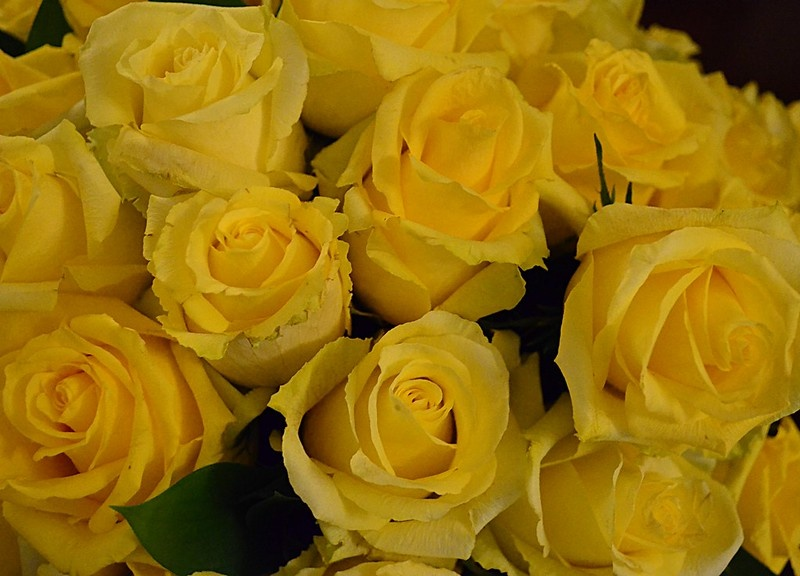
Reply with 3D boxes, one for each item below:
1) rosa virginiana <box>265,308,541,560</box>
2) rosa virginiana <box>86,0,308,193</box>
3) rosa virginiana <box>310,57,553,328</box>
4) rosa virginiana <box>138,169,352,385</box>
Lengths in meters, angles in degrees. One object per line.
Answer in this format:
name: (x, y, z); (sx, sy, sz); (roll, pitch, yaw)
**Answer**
rosa virginiana: (0.007, 0.126, 0.733); (0.193, 0.087, 0.193); (-22, 74, -14)
rosa virginiana: (-0.167, -0.152, 0.773); (0.184, 0.108, 0.170); (-13, 72, -11)
rosa virginiana: (0.054, -0.090, 0.804); (0.198, 0.203, 0.194); (-1, 104, 12)
rosa virginiana: (-0.120, 0.000, 0.746); (0.163, 0.118, 0.139); (5, 69, -4)
